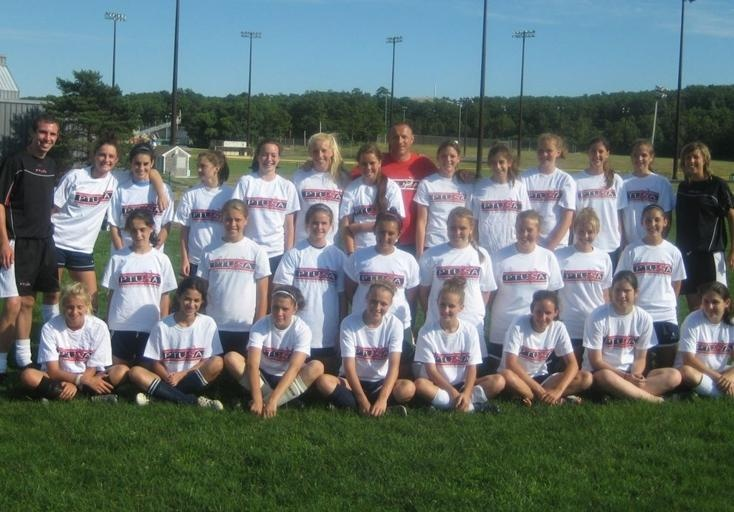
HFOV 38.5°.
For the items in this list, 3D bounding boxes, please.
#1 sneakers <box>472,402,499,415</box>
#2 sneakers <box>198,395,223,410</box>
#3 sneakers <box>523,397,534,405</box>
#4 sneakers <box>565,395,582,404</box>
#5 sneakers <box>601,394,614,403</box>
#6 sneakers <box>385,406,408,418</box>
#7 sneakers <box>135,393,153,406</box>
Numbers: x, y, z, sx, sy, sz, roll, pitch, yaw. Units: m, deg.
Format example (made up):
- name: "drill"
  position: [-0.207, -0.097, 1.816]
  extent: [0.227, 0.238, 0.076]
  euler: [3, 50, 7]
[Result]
- name: "sneakers"
  position: [1.485, 1.911, 13.158]
  extent: [0.354, 0.162, 0.124]
  euler: [-1, -3, 14]
- name: "sneakers"
  position: [-1.951, 1.832, 13.190]
  extent: [0.353, 0.158, 0.135]
  euler: [3, 23, 11]
- name: "sneakers"
  position: [2.046, 1.845, 13.317]
  extent: [0.126, 0.088, 0.177]
  euler: [1, 4, 8]
- name: "sneakers"
  position: [2.613, 1.822, 13.353]
  extent: [0.096, 0.081, 0.154]
  euler: [-1, 7, -43]
- name: "sneakers"
  position: [3.063, 1.822, 13.401]
  extent: [0.142, 0.094, 0.127]
  euler: [1, 4, 9]
- name: "sneakers"
  position: [0.387, 1.925, 13.062]
  extent: [0.298, 0.123, 0.103]
  euler: [6, -1, 41]
- name: "sneakers"
  position: [-2.791, 1.801, 13.216]
  extent: [0.184, 0.134, 0.173]
  euler: [-1, 4, -25]
